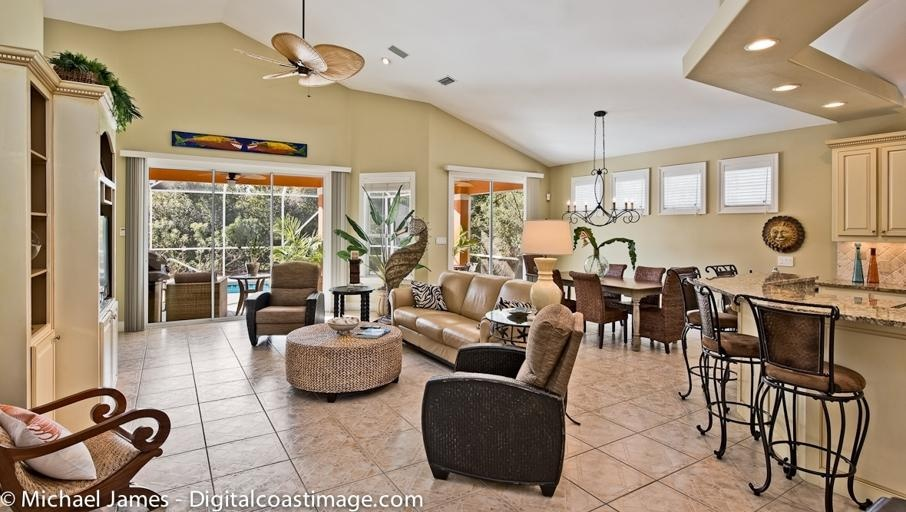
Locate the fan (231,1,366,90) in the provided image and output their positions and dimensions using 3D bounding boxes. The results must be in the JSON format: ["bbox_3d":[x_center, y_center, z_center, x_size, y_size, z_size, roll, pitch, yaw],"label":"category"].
[{"bbox_3d":[-1.838,-2.472,6.459,1.032,0.378,1.000,-4,6,-43],"label":"fan"}]

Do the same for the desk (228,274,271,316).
[{"bbox_3d":[-3.811,0.714,9.591,0.722,0.612,0.716,2,-1,34],"label":"desk"}]

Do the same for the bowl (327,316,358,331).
[{"bbox_3d":[-1.398,0.855,6.531,0.253,0.081,0.232,1,-1,0],"label":"bowl"}]

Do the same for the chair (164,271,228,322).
[{"bbox_3d":[-4.598,0.731,9.405,0.957,0.857,0.920,0,3,-14],"label":"chair"}]

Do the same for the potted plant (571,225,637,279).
[{"bbox_3d":[2.725,-0.055,9.160,0.436,0.748,1.353,10,3,-36],"label":"potted plant"}]

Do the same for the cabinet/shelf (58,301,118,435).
[{"bbox_3d":[-3.930,1.199,5.446,0.584,1.240,1.522,0,3,-27],"label":"cabinet/shelf"}]

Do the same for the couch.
[{"bbox_3d":[0.196,0.911,7.451,1.262,1.065,2.532,-9,10,-35],"label":"couch"}]

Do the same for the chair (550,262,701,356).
[{"bbox_3d":[2.600,0.808,7.523,0.511,0.874,1.559,4,-5,-35],"label":"chair"}]

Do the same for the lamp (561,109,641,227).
[{"bbox_3d":[2.997,-1.787,10.140,1.948,2.092,1.745,-6,7,-11],"label":"lamp"}]

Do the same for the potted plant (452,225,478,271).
[{"bbox_3d":[0.242,-0.143,10.726,0.807,0.731,0.800,2,10,-9],"label":"potted plant"}]

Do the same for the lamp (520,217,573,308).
[{"bbox_3d":[1.196,0.162,6.210,0.740,1.014,0.700,-1,-9,26],"label":"lamp"}]
